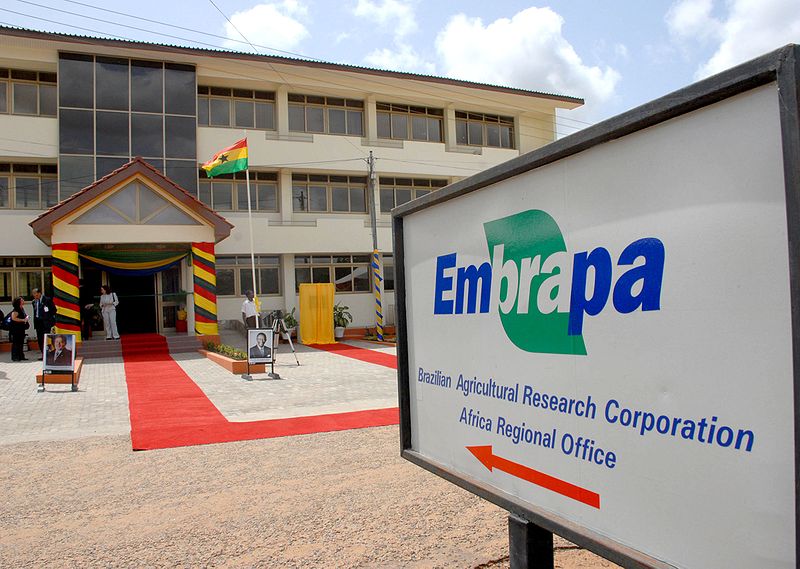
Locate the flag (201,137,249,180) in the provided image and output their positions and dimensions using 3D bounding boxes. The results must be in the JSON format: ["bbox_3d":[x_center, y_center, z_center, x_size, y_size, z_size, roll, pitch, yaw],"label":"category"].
[{"bbox_3d":[-5.905,-4.334,20.223,1.558,1.347,0.760,1,-5,23],"label":"flag"}]

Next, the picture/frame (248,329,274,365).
[{"bbox_3d":[-3.701,1.650,15.530,0.867,1.229,0.083,1,-4,-18],"label":"picture/frame"}]

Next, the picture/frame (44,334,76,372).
[{"bbox_3d":[-7.579,1.541,13.055,0.793,1.027,0.075,1,5,-15],"label":"picture/frame"}]
